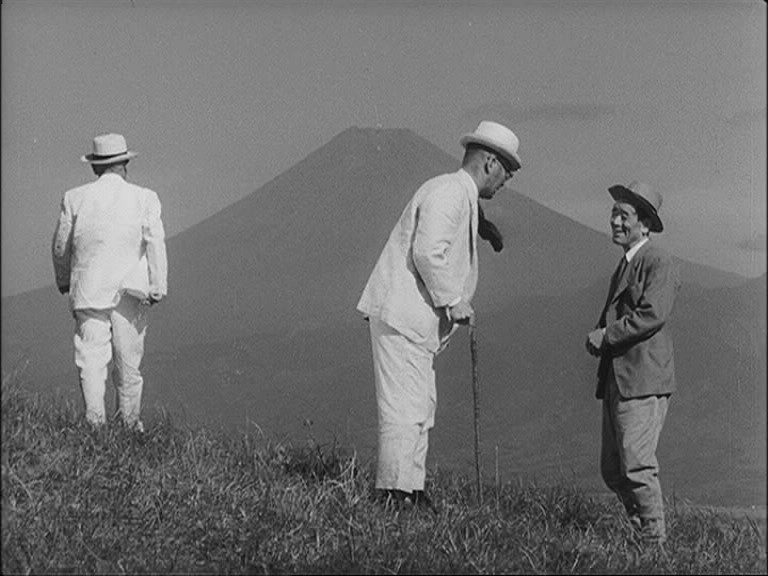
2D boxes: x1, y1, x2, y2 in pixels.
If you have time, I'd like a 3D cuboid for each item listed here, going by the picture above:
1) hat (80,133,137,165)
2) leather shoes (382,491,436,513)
[{"bbox_3d":[-2.238,-1.222,10.773,0.315,0.145,0.362,8,18,28],"label":"hat"},{"bbox_3d":[0.171,1.563,9.504,0.420,0.166,0.177,1,-7,-3],"label":"leather shoes"}]
